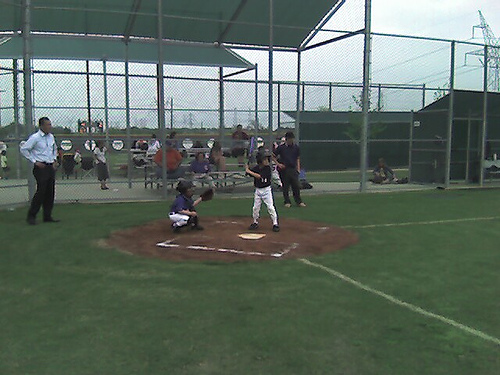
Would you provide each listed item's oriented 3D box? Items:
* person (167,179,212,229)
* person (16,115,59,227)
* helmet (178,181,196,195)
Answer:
[{"bbox_3d":[-1.269,0.342,9.365,0.410,0.968,0.572,10,13,42],"label":"person"},{"bbox_3d":[-4.313,-0.346,9.877,0.634,2.173,0.765,-3,11,-20],"label":"person"},{"bbox_3d":[-1.255,-0.006,9.251,0.245,0.176,0.201,-7,27,-22],"label":"helmet"}]
